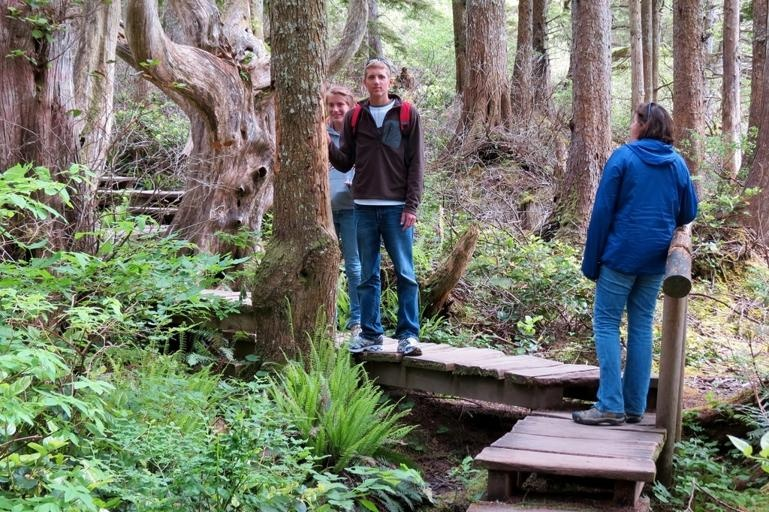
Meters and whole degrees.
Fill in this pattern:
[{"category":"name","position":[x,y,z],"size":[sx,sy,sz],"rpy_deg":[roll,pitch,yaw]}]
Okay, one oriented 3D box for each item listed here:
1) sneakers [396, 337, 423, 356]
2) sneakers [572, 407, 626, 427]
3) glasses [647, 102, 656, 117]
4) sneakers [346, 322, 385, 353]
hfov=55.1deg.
[{"category":"sneakers","position":[0.248,0.943,7.614],"size":[0.134,0.119,0.283],"rpy_deg":[1,-5,-17]},{"category":"sneakers","position":[1.928,1.447,6.690],"size":[0.393,0.179,0.170],"rpy_deg":[3,-2,13]},{"category":"glasses","position":[2.380,-1.317,6.591],"size":[0.076,0.106,0.044],"rpy_deg":[12,-1,38]},{"category":"sneakers","position":[-0.197,0.917,7.755],"size":[0.439,0.225,0.166],"rpy_deg":[4,-6,-1]}]
